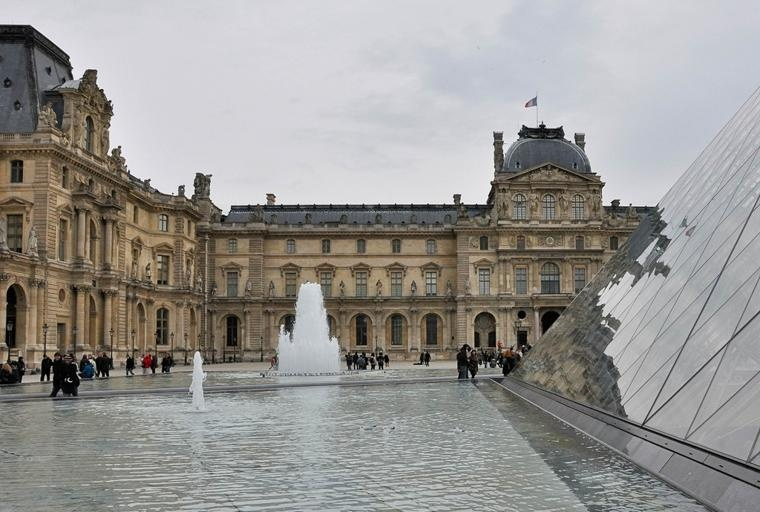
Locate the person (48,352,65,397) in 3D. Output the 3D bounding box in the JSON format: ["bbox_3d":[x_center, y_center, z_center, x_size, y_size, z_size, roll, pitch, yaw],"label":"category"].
[{"bbox_3d":[-10.731,3.927,30.726,0.531,1.311,1.168,-6,0,-20],"label":"person"}]

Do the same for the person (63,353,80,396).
[{"bbox_3d":[-10.193,3.972,30.403,0.487,1.247,0.612,-6,-1,-19],"label":"person"}]
